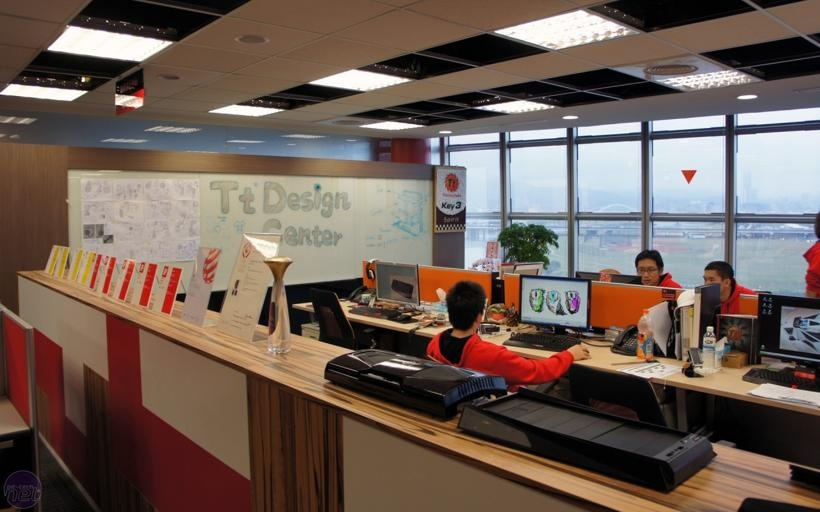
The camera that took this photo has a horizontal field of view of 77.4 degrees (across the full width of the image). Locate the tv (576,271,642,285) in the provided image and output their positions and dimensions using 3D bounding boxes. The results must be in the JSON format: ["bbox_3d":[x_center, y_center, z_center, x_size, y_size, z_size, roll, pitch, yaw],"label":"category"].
[{"bbox_3d":[2.236,0.289,5.626,0.794,0.119,0.174,3,49,21],"label":"tv"}]

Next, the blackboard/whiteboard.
[{"bbox_3d":[-2.018,-0.561,7.463,5.665,1.476,0.078,-1,6,-25],"label":"blackboard/whiteboard"}]

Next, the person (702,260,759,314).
[{"bbox_3d":[2.735,0.237,4.432,0.409,0.474,0.729,-2,1,20],"label":"person"}]

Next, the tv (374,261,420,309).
[{"bbox_3d":[-0.118,0.302,5.622,0.089,0.460,0.683,-10,10,-43],"label":"tv"}]

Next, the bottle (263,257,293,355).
[{"bbox_3d":[-0.740,0.233,2.853,0.135,0.492,0.467,0,13,-15],"label":"bottle"}]

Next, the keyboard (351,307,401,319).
[{"bbox_3d":[-0.379,0.600,5.479,0.194,0.033,0.323,-4,7,-38],"label":"keyboard"}]

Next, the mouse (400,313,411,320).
[{"bbox_3d":[-0.036,0.614,5.200,0.108,0.045,0.109,3,12,1],"label":"mouse"}]

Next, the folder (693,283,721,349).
[{"bbox_3d":[2.274,0.473,3.907,0.508,0.591,0.068,-3,3,-36],"label":"folder"}]

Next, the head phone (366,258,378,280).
[{"bbox_3d":[-0.459,0.164,6.094,0.115,0.257,0.245,0,4,13],"label":"head phone"}]

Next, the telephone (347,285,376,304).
[{"bbox_3d":[-0.570,0.459,5.996,0.311,0.113,0.167,-4,10,-19],"label":"telephone"}]

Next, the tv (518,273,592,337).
[{"bbox_3d":[1.320,0.451,4.611,0.593,0.380,0.062,2,-1,29],"label":"tv"}]
